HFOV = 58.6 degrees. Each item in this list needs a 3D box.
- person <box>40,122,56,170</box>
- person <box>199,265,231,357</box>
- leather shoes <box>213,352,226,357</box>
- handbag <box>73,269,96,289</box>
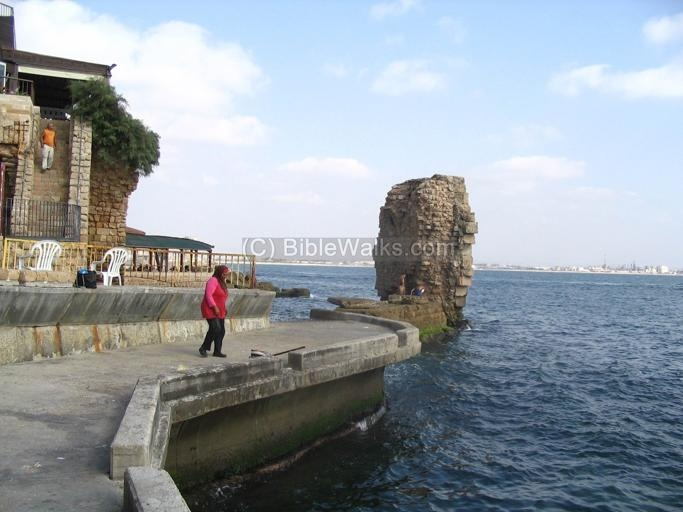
[{"bbox_3d":[-9.724,-3.638,20.190,0.373,1.571,0.345,-1,6,-30],"label":"person"},{"bbox_3d":[-2.779,1.200,13.257,0.571,2.037,0.812,1,6,-13],"label":"person"},{"bbox_3d":[-2.641,2.155,13.266,0.295,0.191,0.098,0,1,-8],"label":"leather shoes"},{"bbox_3d":[-5.485,0.487,13.019,0.416,0.433,0.441,0,0,-5],"label":"handbag"}]
